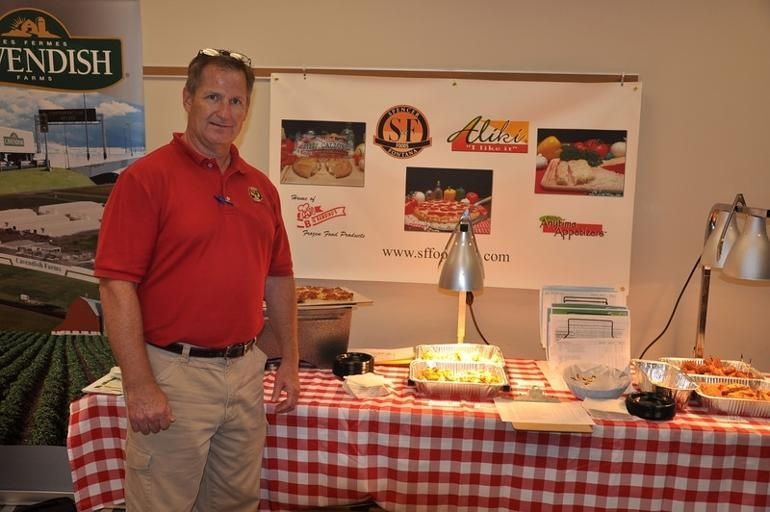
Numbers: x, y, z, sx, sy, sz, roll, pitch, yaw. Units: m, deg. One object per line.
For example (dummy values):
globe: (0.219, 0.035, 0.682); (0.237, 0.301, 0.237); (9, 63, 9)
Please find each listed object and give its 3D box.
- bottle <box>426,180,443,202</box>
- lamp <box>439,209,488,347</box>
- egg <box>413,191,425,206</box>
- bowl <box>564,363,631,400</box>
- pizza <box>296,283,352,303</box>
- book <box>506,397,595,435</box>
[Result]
bottle: (0.294, -0.393, 3.629); (0.098, 0.118, 0.023); (0, 12, -7)
lamp: (0.426, 0.149, 3.428); (0.258, 0.851, 0.591); (3, 12, 9)
egg: (0.202, -0.351, 3.690); (0.073, 0.079, 0.071); (-2, 9, 6)
bowl: (1.095, 0.657, 3.160); (0.226, 0.076, 0.207); (1, 6, 0)
pizza: (-0.353, 0.223, 3.497); (0.325, 0.030, 0.285); (-1, 11, -10)
book: (0.762, 0.781, 2.915); (0.436, 0.071, 0.249); (1, 11, -1)
